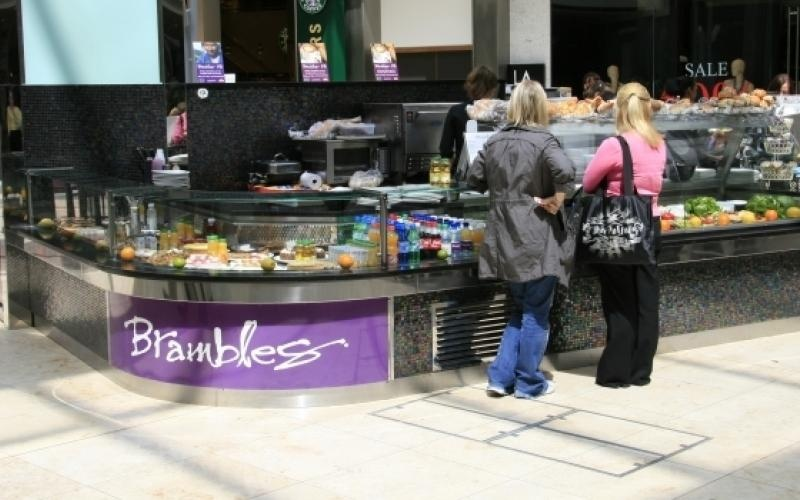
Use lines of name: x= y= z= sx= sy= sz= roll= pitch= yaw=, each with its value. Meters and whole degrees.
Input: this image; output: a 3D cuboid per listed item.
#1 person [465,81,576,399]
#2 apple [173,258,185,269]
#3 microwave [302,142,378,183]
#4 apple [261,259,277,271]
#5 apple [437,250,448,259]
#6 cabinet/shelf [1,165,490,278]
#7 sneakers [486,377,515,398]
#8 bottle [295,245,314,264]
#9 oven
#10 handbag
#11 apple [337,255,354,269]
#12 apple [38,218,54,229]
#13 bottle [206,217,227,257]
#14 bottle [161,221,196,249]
person: x=1.004 y=-0.074 z=5.305 sx=0.785 sy=2.506 sz=0.601 roll=-2 pitch=14 yaw=-5
apple: x=-1.781 y=0.105 z=5.312 sx=0.085 sy=0.074 sz=0.084 roll=-9 pitch=15 yaw=-39
microwave: x=-0.761 y=-1.024 z=7.349 sx=0.753 sy=0.373 sz=0.744 roll=-8 pitch=18 yaw=-32
apple: x=-1.041 y=0.119 z=5.192 sx=0.110 sy=0.081 sz=0.070 roll=-2 pitch=14 yaw=-3
apple: x=0.340 y=0.042 z=5.483 sx=0.085 sy=0.070 sz=0.084 roll=10 pitch=17 yaw=36
cabinet/shelf: x=-2.023 y=-0.275 z=5.921 sx=5.257 sy=0.694 sz=1.432 roll=4 pitch=14 yaw=20
sneakers: x=0.793 y=1.130 z=5.349 sx=0.136 sy=0.090 sz=0.209 roll=2 pitch=8 yaw=6
bottle: x=-0.759 y=0.040 z=5.297 sx=0.160 sy=0.133 sz=0.146 roll=0 pitch=10 yaw=-2
oven: x=0.142 y=-1.220 z=7.393 sx=0.666 sy=0.752 sz=0.915 roll=9 pitch=13 yaw=44
handbag: x=1.764 y=-0.403 z=5.410 sx=0.622 sy=1.020 sz=0.287 roll=2 pitch=15 yaw=13
apple: x=-0.437 y=0.096 z=5.258 sx=0.128 sy=0.101 sz=0.120 roll=-5 pitch=13 yaw=-27
apple: x=-3.740 y=-0.274 z=6.979 sx=0.174 sy=0.088 sz=0.123 roll=8 pitch=7 yaw=34
bottle: x=-1.478 y=-0.089 z=5.292 sx=0.165 sy=0.328 sz=0.037 roll=3 pitch=15 yaw=17
bottle: x=-1.793 y=-0.127 z=5.347 sx=0.243 sy=0.067 sz=0.082 roll=-13 pitch=2 yaw=25
